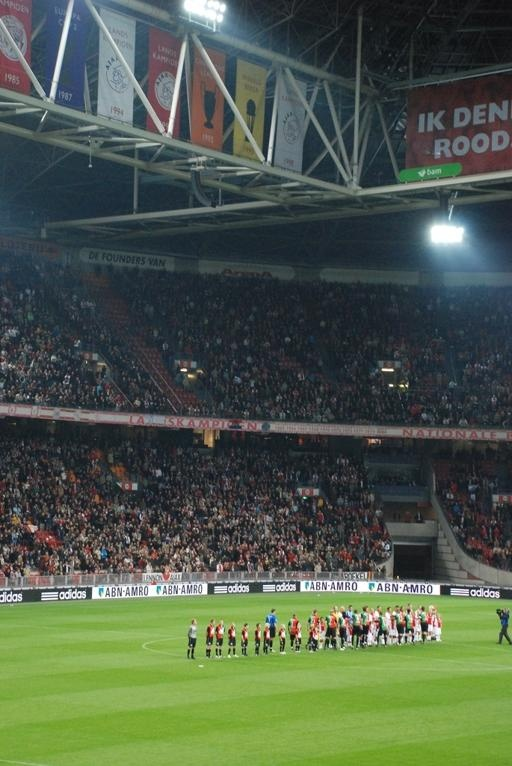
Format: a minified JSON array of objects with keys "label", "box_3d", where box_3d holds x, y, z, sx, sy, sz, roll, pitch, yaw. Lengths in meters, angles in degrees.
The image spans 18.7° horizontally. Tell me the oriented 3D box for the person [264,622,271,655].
[{"label":"person","box_3d":[0.311,7.587,45.302,0.200,0.928,0.666,1,3,0]}]
